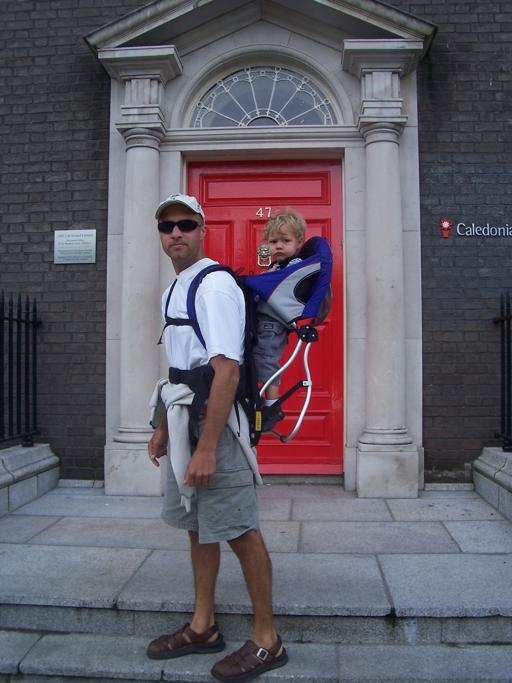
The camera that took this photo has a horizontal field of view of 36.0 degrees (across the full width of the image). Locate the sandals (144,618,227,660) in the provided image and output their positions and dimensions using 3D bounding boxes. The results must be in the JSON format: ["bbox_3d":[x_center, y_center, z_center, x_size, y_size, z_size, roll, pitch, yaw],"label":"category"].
[{"bbox_3d":[-0.336,1.455,3.860,0.389,0.141,0.151,2,-7,-2],"label":"sandals"}]

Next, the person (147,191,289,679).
[{"bbox_3d":[-0.245,0.426,3.750,0.504,2.257,0.654,-4,6,-35],"label":"person"}]

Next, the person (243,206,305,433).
[{"bbox_3d":[0.060,-0.138,3.855,0.325,1.044,0.273,6,22,-5],"label":"person"}]
